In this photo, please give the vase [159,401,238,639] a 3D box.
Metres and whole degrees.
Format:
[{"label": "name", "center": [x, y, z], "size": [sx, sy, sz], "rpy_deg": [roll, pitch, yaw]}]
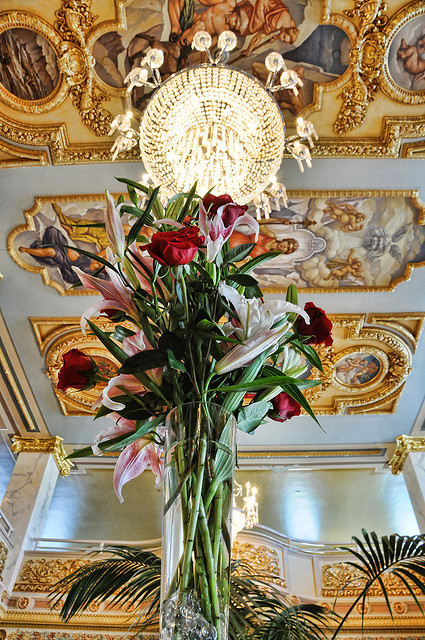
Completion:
[{"label": "vase", "center": [-0.035, 0.342, 0.905], "size": [0.151, 0.414, 0.128], "rpy_deg": [4, -45, 3]}]
